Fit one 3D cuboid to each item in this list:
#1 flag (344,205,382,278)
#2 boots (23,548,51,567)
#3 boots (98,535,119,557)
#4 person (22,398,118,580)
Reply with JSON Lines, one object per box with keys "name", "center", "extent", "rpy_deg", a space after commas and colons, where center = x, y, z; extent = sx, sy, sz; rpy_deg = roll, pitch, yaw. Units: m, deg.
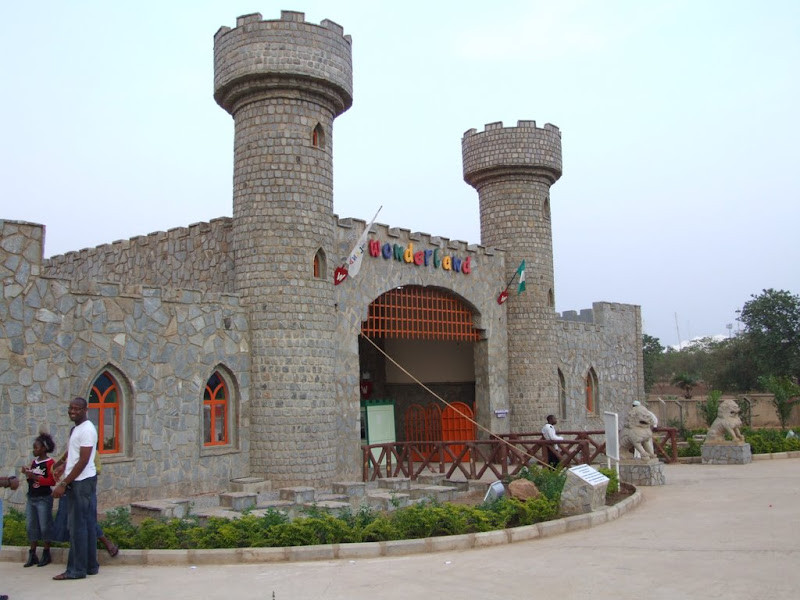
{"name": "flag", "center": [-0.952, -1.319, 22.066], "extent": [0.479, 0.321, 2.507], "rpy_deg": [9, -50, -18]}
{"name": "boots", "center": [-5.765, 4.128, 14.299], "extent": [0.314, 0.227, 0.281], "rpy_deg": [-1, -19, -1]}
{"name": "boots", "center": [-4.748, 3.985, 14.495], "extent": [0.226, 0.132, 0.382], "rpy_deg": [29, -29, 22]}
{"name": "person", "center": [-4.987, 2.897, 13.937], "extent": [0.827, 2.742, 0.963], "rpy_deg": [3, -14, -19]}
